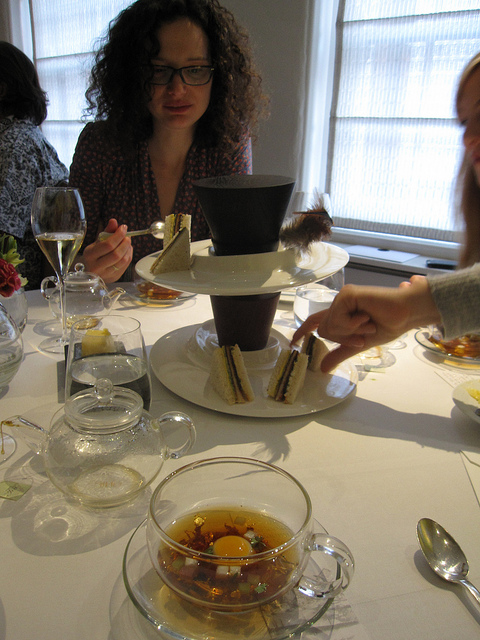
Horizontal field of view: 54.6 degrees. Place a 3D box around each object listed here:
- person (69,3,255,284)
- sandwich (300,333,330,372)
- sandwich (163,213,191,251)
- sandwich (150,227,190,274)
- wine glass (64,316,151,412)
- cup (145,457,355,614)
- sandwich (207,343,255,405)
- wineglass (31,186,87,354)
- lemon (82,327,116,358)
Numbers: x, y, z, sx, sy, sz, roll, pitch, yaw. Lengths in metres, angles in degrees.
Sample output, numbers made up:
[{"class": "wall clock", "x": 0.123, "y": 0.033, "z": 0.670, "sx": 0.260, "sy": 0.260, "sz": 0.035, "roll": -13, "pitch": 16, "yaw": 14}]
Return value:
[{"class": "person", "x": -0.253, "y": -0.674, "z": 1.725, "sx": 0.724, "sy": 0.821, "sz": 0.396, "roll": -4, "pitch": 19, "yaw": -21}, {"class": "sandwich", "x": 0.122, "y": 0.053, "z": 0.804, "sx": 0.017, "sy": 0.054, "sz": 0.055, "roll": -6, "pitch": 36, "yaw": -18}, {"class": "sandwich", "x": -0.115, "y": -0.171, "z": 0.862, "sx": 0.053, "sy": 0.076, "sz": 0.023, "roll": 3, "pitch": -5, "yaw": 18}, {"class": "sandwich", "x": -0.115, "y": -0.115, "z": 0.763, "sx": 0.065, "sy": 0.071, "sz": 0.042, "roll": 0, "pitch": 18, "yaw": -8}, {"class": "wine glass", "x": -0.163, "y": 0.052, "z": 0.660, "sx": 0.106, "sy": 0.141, "sz": 0.143, "roll": 0, "pitch": 6, "yaw": -10}, {"class": "cup", "x": 0.006, "y": 0.184, "z": 0.374, "sx": 0.162, "sy": 0.077, "sz": 0.129, "roll": 10, "pitch": 12, "yaw": 11}, {"class": "sandwich", "x": -0.012, "y": 0.076, "z": 0.736, "sx": 0.062, "sy": 0.071, "sz": 0.102, "roll": -4, "pitch": 20, "yaw": -21}, {"class": "wineglass", "x": -0.362, "y": -0.100, "z": 0.945, "sx": 0.107, "sy": 0.333, "sz": 0.108, "roll": -6, "pitch": 6, "yaw": -44}, {"class": "lemon", "x": -0.192, "y": 0.030, "z": 0.631, "sx": 0.038, "sy": 0.037, "sz": 0.038, "roll": 1, "pitch": 15, "yaw": -9}]
